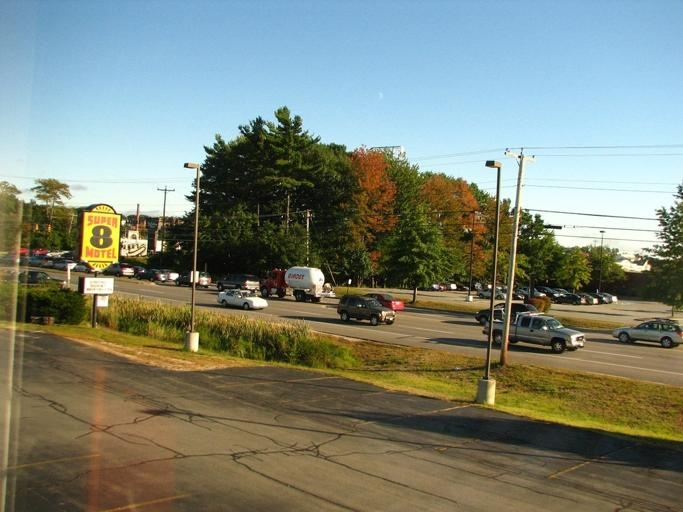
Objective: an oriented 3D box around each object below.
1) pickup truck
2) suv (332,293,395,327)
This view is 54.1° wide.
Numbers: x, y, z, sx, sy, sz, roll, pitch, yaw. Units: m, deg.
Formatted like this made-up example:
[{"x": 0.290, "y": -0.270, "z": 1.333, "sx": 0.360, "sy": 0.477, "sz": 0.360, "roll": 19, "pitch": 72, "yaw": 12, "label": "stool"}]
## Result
[{"x": 10.533, "y": 4.124, "z": 36.527, "sx": 2.074, "sy": 2.026, "sz": 5.477, "roll": 3, "pitch": 0, "yaw": -44, "label": "pickup truck"}, {"x": 1.483, "y": 3.558, "z": 43.304, "sx": 1.872, "sy": 1.784, "sz": 3.986, "roll": 1, "pitch": -2, "yaw": -44, "label": "suv"}]
